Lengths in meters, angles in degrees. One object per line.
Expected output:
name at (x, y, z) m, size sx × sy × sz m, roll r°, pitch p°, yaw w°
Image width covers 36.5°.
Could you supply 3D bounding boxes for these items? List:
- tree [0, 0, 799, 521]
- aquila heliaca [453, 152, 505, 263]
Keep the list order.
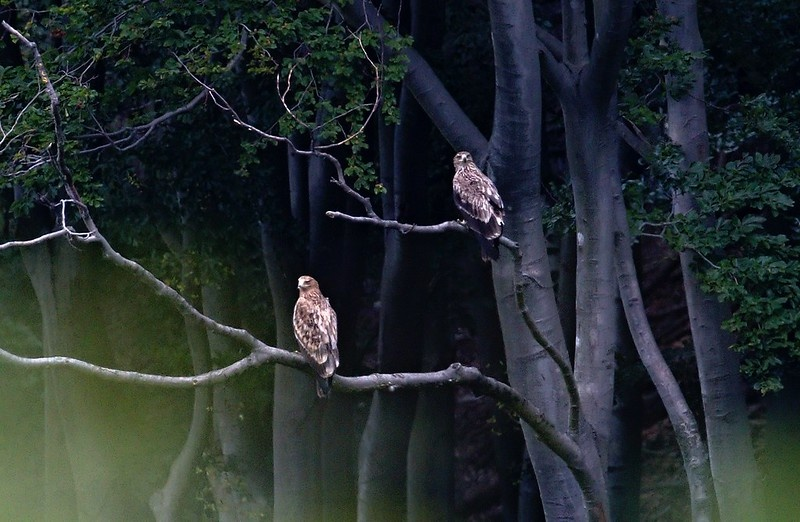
tree at (-0.481, -0.029, 14.735) m, size 8.442 × 7.837 × 6.178 m, roll -6°, pitch -6°, yaw -21°
aquila heliaca at (0.854, -0.691, 13.288) m, size 0.720 × 1.057 × 0.417 m, roll 26°, pitch 33°, yaw 24°
